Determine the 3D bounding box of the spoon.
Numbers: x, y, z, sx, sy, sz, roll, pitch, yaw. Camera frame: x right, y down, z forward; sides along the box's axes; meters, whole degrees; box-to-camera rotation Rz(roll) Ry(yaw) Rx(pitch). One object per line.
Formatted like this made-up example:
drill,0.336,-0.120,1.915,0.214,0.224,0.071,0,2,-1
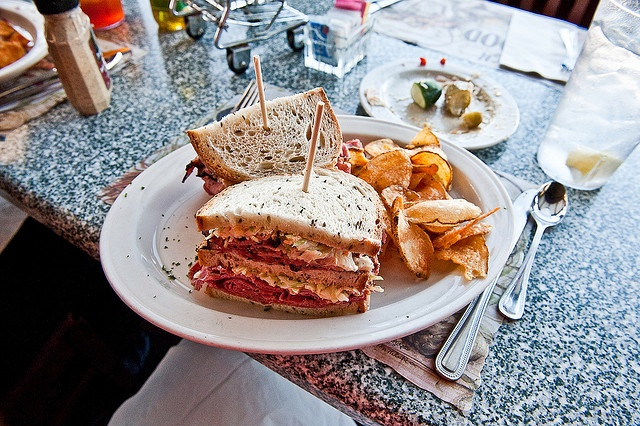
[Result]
spoon,0.842,0.136,1.877,0.113,0.086,0.582,14,66,37
